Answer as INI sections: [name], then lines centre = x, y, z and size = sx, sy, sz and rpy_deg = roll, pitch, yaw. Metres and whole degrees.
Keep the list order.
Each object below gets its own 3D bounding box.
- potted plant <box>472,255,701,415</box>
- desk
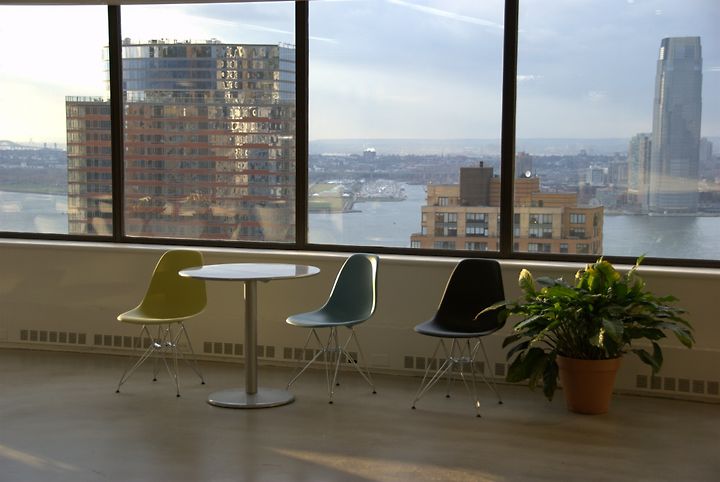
[potted plant]
centre = 1.969, 0.819, 6.105
size = 1.558, 1.351, 0.929
rpy_deg = 2, 6, 10
[desk]
centre = -1.007, 0.830, 6.369
size = 1.239, 1.147, 1.259
rpy_deg = 8, -19, -35
